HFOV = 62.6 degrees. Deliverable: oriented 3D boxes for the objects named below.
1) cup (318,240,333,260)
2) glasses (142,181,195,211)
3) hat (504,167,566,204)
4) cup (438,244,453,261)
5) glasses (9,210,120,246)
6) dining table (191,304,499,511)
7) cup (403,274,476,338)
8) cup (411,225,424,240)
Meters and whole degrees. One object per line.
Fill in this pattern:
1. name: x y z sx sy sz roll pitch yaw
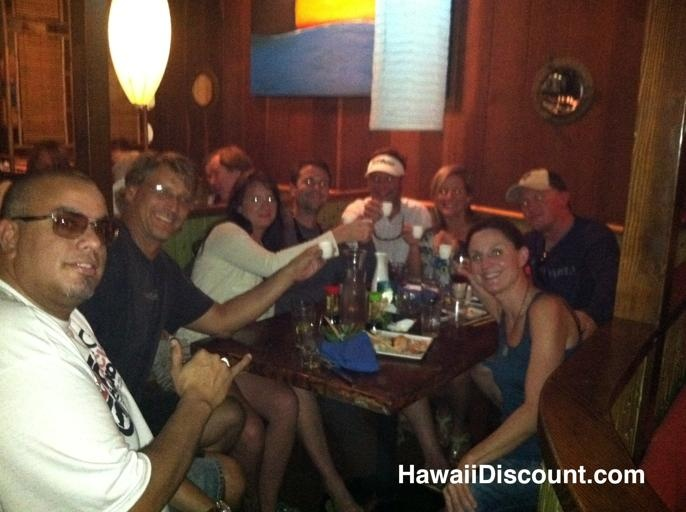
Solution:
1. cup: -0.086 -0.031 3.001 0.085 0.095 0.084 -3 1 0
2. glasses: -0.798 -0.280 2.613 0.133 0.055 0.104 28 2 11
3. hat: 1.354 -0.506 3.951 0.354 0.191 0.259 8 0 -9
4. cup: 0.631 -0.017 3.492 0.085 0.093 0.083 0 11 0
5. glasses: -0.891 -0.090 1.819 0.305 0.132 0.145 -10 18 -31
6. dining table: 0.064 0.987 3.072 1.283 1.298 1.001 11 25 29
7. cup: 0.474 0.264 3.154 0.393 0.417 0.238 9 9 35
8. cup: 0.521 -0.156 3.844 0.083 0.095 0.086 2 9 0
